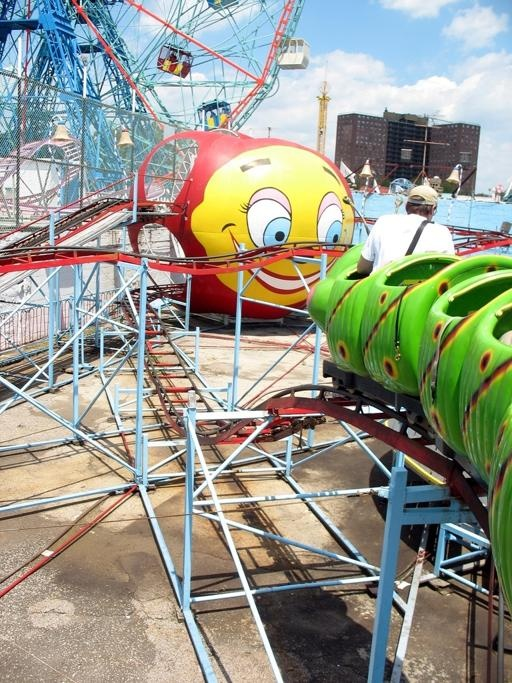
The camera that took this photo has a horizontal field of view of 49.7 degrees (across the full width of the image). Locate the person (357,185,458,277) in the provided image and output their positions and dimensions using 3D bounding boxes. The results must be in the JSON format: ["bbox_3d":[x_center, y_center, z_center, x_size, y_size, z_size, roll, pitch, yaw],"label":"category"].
[{"bbox_3d":[1.175,-0.852,4.267,0.724,0.738,0.546,5,14,9],"label":"person"}]
